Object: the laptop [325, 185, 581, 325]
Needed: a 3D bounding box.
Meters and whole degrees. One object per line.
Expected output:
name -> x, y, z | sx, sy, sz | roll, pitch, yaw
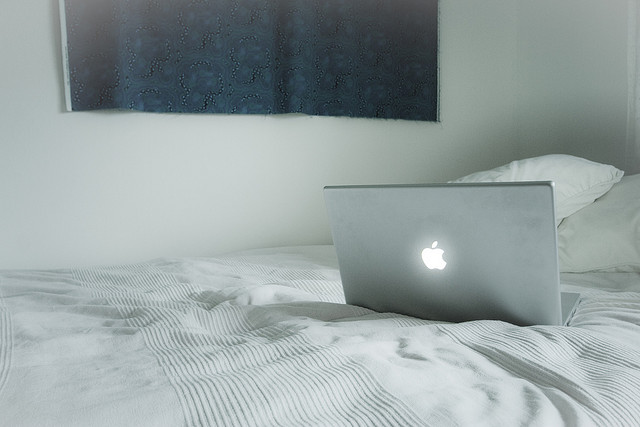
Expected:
laptop -> 0.341, 0.093, 1.402 | 0.608, 0.337, 0.492 | -1, 0, 34
